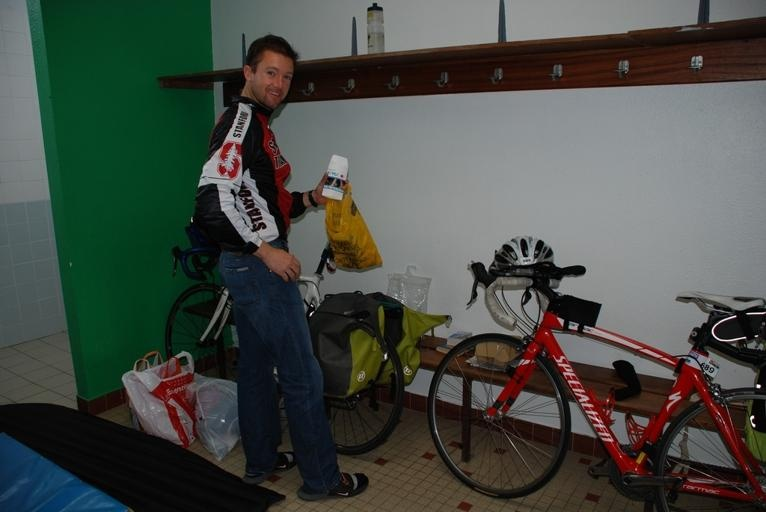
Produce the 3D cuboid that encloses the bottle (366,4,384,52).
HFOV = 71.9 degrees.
[{"bbox_3d":[-0.051,-1.646,3.796,0.115,0.341,0.182,-2,16,-2],"label":"bottle"}]

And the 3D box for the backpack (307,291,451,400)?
[{"bbox_3d":[-0.094,0.534,3.551,0.599,0.403,0.763,0,27,35],"label":"backpack"}]

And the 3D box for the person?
[{"bbox_3d":[-0.665,0.125,3.189,0.821,2.780,0.795,-7,17,-20],"label":"person"}]

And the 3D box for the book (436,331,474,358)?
[{"bbox_3d":[0.508,0.617,3.849,0.173,0.044,0.175,-15,4,37],"label":"book"}]

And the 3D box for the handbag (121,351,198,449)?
[{"bbox_3d":[-1.596,1.049,3.764,0.379,0.620,0.484,-21,-6,40],"label":"handbag"}]

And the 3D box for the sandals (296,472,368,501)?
[{"bbox_3d":[-0.302,1.435,3.338,0.381,0.158,0.187,-6,6,-18],"label":"sandals"}]

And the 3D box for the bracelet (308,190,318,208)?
[{"bbox_3d":[-0.466,-0.393,3.566,0.072,0.074,0.101,8,16,-8],"label":"bracelet"}]

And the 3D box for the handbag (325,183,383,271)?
[{"bbox_3d":[-0.208,-0.215,3.791,0.392,0.579,0.227,16,59,20],"label":"handbag"}]
